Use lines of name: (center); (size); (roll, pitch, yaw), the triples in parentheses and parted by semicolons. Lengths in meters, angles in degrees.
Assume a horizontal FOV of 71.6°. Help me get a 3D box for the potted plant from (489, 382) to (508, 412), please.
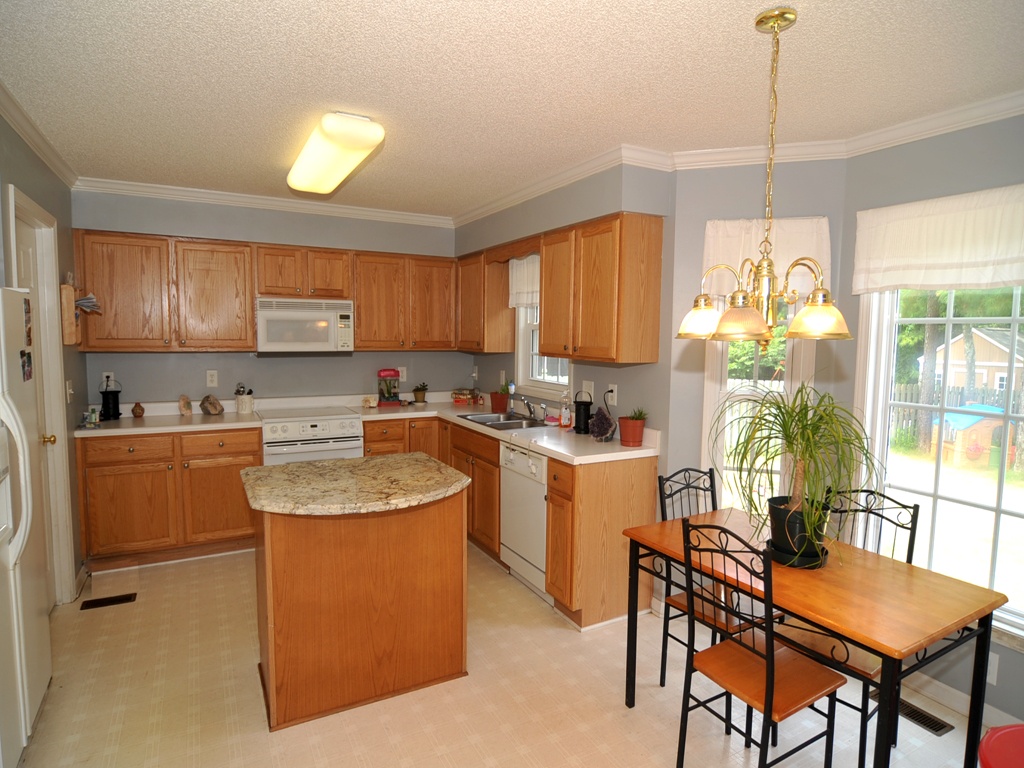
potted plant: (-0.108, 0.124, 6.000); (0.133, 0.242, 0.187); (-3, 4, -14)

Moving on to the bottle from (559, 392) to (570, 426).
bottle: (0.398, 0.191, 5.317); (0.089, 0.243, 0.279); (-1, 4, 4)

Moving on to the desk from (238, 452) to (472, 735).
desk: (-0.782, 1.091, 3.764); (1.118, 1.235, 0.622); (-3, 5, -22)

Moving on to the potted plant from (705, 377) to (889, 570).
potted plant: (1.325, 0.457, 3.390); (0.816, 0.831, 0.730); (2, 3, 15)

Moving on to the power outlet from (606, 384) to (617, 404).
power outlet: (0.683, 0.076, 4.889); (0.026, 0.147, 0.107); (-4, 5, -27)

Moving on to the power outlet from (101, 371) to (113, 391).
power outlet: (-3.068, -0.025, 5.396); (0.090, 0.128, 0.131); (-4, 4, -30)

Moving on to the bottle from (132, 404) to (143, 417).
bottle: (-2.873, 0.200, 5.453); (0.086, 0.116, 0.135); (-4, 4, -28)

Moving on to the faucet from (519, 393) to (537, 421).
faucet: (0.124, 0.190, 5.777); (0.112, 0.194, 0.327); (-2, 3, -5)

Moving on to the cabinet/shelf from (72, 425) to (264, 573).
cabinet/shelf: (-2.544, 0.782, 5.387); (1.208, 0.964, 0.420); (-3, 9, -30)

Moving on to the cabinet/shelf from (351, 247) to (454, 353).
cabinet/shelf: (-0.996, -0.721, 6.299); (0.967, 0.859, 0.343); (-3, 8, -33)

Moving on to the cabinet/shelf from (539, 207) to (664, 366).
cabinet/shelf: (0.596, -0.606, 4.883); (0.425, 0.970, 1.071); (-1, 4, -24)

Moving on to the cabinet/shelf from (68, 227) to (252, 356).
cabinet/shelf: (-2.675, -0.668, 5.555); (1.218, 0.966, 0.426); (-1, 0, -26)

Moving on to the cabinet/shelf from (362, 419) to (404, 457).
cabinet/shelf: (-1.049, 0.410, 5.913); (0.371, 0.361, 0.271); (0, 1, -31)

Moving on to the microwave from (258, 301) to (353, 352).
microwave: (-1.672, -0.476, 5.723); (0.717, 0.449, 0.425); (-1, 3, -31)

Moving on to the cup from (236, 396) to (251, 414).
cup: (-2.164, 0.161, 5.749); (0.133, 0.157, 0.223); (-3, 4, -22)

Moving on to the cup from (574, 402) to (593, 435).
cup: (0.503, 0.234, 5.041); (0.124, 0.234, 0.184); (-1, 4, 5)

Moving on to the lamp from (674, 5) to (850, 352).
lamp: (1.214, -0.890, 3.588); (0.878, 1.396, 1.686); (0, 4, 25)

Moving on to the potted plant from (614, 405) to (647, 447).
potted plant: (0.785, 0.284, 4.625); (0.168, 0.233, 0.248); (0, 4, 16)

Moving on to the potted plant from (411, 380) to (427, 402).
potted plant: (-0.827, 0.078, 6.459); (0.164, 0.226, 0.152); (0, -5, 2)

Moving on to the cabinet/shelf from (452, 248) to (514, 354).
cabinet/shelf: (-0.213, -0.695, 6.116); (0.305, 0.845, 0.669); (-4, 5, -28)

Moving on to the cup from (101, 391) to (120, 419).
cup: (-3.035, 0.158, 5.361); (0.131, 0.225, 0.215); (-4, 4, -30)
